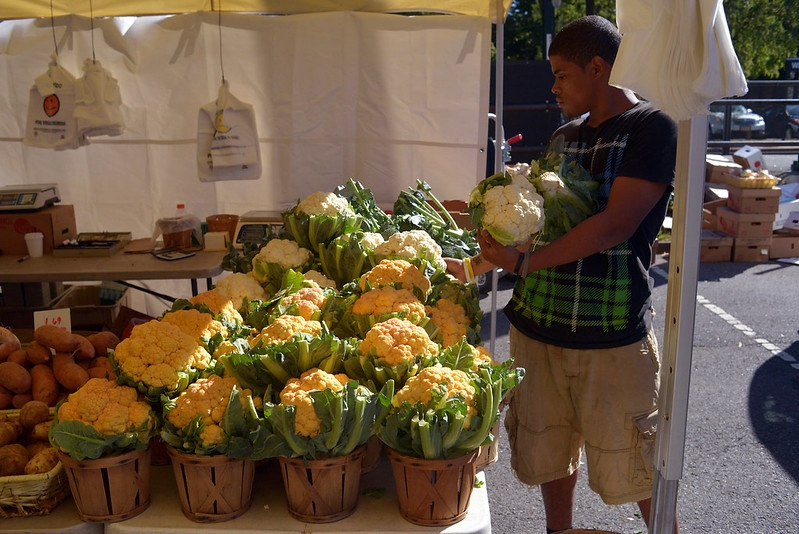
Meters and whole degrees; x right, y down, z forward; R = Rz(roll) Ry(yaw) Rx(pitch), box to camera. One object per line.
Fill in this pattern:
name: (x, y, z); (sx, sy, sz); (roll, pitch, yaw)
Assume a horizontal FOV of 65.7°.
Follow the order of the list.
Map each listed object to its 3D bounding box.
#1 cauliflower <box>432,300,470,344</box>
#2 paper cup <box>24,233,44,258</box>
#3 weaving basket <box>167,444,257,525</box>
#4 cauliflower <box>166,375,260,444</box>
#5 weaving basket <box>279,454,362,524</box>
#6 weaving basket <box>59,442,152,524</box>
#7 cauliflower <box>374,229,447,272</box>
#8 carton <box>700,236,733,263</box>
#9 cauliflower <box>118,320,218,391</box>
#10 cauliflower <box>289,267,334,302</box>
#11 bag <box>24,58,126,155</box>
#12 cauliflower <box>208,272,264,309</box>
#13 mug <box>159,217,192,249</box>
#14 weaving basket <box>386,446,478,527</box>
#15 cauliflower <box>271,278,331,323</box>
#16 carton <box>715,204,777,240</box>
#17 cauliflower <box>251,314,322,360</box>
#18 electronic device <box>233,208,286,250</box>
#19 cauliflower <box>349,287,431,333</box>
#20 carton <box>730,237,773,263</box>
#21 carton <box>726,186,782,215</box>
cauliflower: (0.231, 0.248, 2.918); (0.168, 0.080, 0.197); (12, 39, -32)
paper cup: (-3.059, -0.184, 5.210); (0.185, 0.215, 0.187); (-3, 0, 0)
weaving basket: (-0.726, 0.831, 2.425); (0.293, 0.232, 0.293); (8, -21, -36)
cauliflower: (-0.740, 0.606, 2.446); (0.291, 0.171, 0.245); (-15, 46, -4)
weaving basket: (-0.286, 0.825, 2.419); (0.279, 0.225, 0.276); (-6, -5, 25)
weaving basket: (-1.128, 0.858, 2.395); (0.282, 0.227, 0.292); (-3, -5, -18)
cauliflower: (0.033, -0.101, 3.230); (0.260, 0.146, 0.222); (4, 6, 39)
carton: (4.248, -0.237, 8.297); (0.348, 0.219, 0.353); (2, 9, 17)
cauliflower: (-0.982, 0.372, 2.543); (0.286, 0.147, 0.289); (-6, 27, -31)
cauliflower: (-0.433, 0.111, 3.141); (0.153, 0.068, 0.139); (-14, 45, 16)
bag: (-2.971, -1.509, 5.637); (0.818, 0.839, 0.410); (0, 15, -3)
cauliflower: (-0.847, 0.115, 3.305); (0.203, 0.091, 0.199); (12, 9, 23)
mug: (-2.023, -0.324, 5.589); (0.272, 0.288, 0.291); (-3, 6, 5)
weaving basket: (0.131, 0.856, 2.357); (0.285, 0.240, 0.311); (0, -22, -4)
cauliflower: (-0.466, 0.154, 2.933); (0.194, 0.103, 0.158); (-6, 18, 36)
carton: (4.692, -0.579, 8.590); (0.514, 0.329, 0.522); (-1, 14, -2)
cauliflower: (-0.496, 0.285, 2.683); (0.198, 0.089, 0.179); (-23, 2, 38)
electronic device: (-1.225, -0.327, 5.335); (0.417, 0.213, 0.574); (-1, 16, 0)
cauliflower: (-0.061, 0.181, 2.784); (0.241, 0.172, 0.232); (0, -7, 4)
carton: (4.809, -0.221, 8.513); (0.384, 0.240, 0.390); (0, 8, 12)
carton: (4.723, -0.882, 8.375); (0.443, 0.283, 0.452); (0, 10, 4)
